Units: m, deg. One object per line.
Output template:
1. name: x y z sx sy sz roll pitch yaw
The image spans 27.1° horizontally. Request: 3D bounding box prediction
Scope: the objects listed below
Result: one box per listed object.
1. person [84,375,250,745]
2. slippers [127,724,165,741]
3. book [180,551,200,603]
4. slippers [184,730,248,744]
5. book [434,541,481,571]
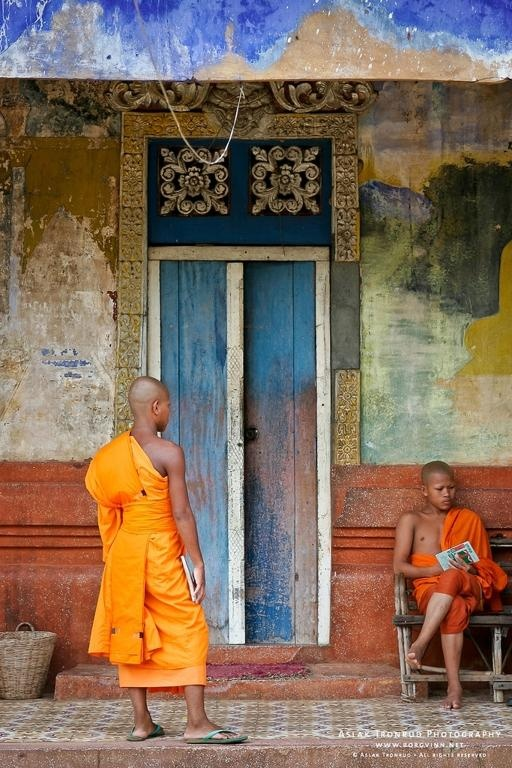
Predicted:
1. person: -0.405 0.732 4.368 0.642 1.518 0.337 0 0 7
2. slippers: -0.461 1.458 4.404 0.057 0.063 0.162 -10 -16 34
3. book: -0.269 0.799 4.299 0.024 0.190 0.138 -14 -27 -5
4. slippers: -0.156 1.439 4.261 0.209 0.062 0.089 -3 -9 3
5. book: 1.000 0.856 5.218 0.231 0.131 0.125 0 0 -28
